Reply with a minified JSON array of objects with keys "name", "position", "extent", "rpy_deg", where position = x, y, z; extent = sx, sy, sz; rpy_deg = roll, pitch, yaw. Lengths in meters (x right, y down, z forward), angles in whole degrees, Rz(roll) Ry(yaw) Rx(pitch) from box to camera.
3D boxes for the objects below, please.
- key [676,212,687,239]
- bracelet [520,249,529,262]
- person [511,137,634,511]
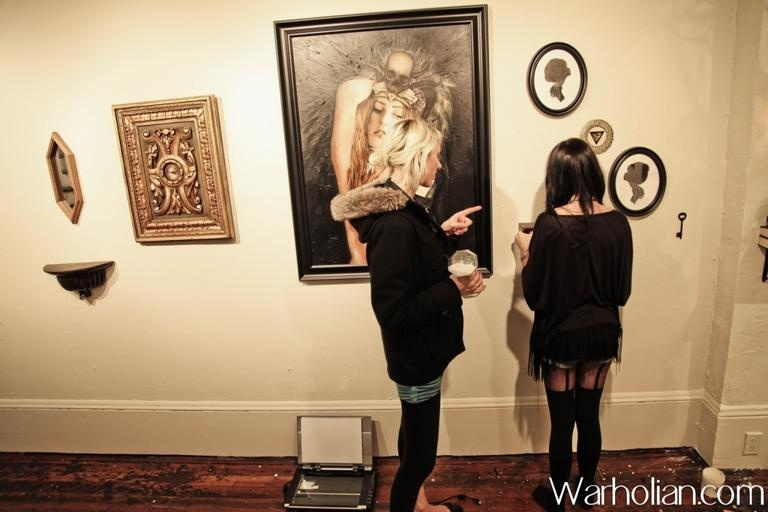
[{"name":"key","position":[2.083,-0.212,4.194],"extent":[0.067,0.185,0.013],"rpy_deg":[-5,11,-9]},{"name":"bracelet","position":[0.926,0.003,3.968],"extent":[0.066,0.090,0.053],"rpy_deg":[-1,2,12]},{"name":"person","position":[1.241,0.470,3.994],"extent":[0.632,2.455,0.443],"rpy_deg":[-6,11,-18]}]
